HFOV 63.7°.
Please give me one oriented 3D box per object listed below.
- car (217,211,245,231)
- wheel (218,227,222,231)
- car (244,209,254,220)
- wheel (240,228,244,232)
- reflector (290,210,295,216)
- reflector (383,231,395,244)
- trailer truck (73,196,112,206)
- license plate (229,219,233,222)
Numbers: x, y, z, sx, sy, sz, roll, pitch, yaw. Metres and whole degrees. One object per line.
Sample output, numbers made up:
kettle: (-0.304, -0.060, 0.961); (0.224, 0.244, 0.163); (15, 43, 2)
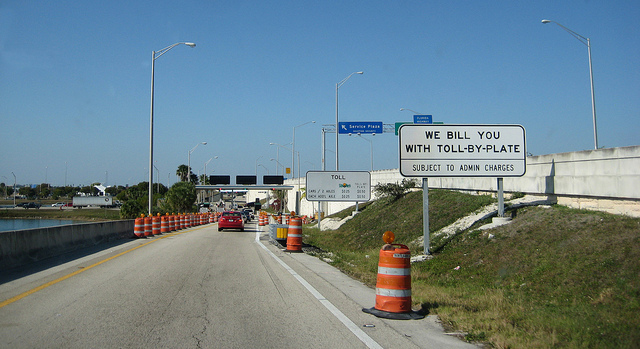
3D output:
car: (-7.852, 4.183, 45.348); (1.935, 1.775, 1.735); (0, 4, 1)
wheel: (-8.810, 4.822, 45.015); (0.251, 0.337, 0.341); (1, -1, -17)
car: (-11.894, 6.644, 88.504); (1.374, 1.644, 1.721); (3, -11, -27)
wheel: (-6.960, 4.978, 45.929); (0.231, 0.188, 1.139); (0, 4, -8)
reflector: (-2.362, 3.332, 43.547); (0.509, 0.316, 0.724); (0, -2, -2)
reflector: (2.310, 2.122, 17.314); (0.367, 0.440, 0.372); (14, -23, -33)
trailer truck: (-58.658, 6.806, 130.485); (10.132, 2.696, 5.532); (3, 5, 31)
license plate: (-7.767, 3.978, 44.601); (0.268, 0.163, 0.086); (0, 5, -10)
